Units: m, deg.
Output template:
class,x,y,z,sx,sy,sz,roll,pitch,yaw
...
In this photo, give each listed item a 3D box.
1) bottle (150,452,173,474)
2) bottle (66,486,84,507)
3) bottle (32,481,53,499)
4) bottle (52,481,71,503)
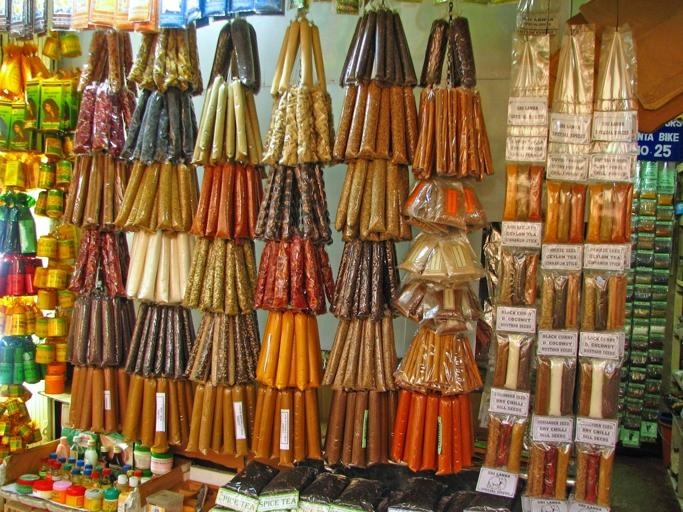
class,x,y,z,sx,sy,sz,roll,pitch,yaw
bottle,-1.046,1.193,3.740,0.109,0.111,0.119,1,-1,1
bottle,-1.487,1.335,3.623,0.088,0.094,0.096,4,-5,1
bottle,-1.700,1.320,3.680,0.085,0.084,0.090,5,-7,-15
bottle,-1.587,1.324,3.663,0.093,0.100,0.096,1,3,-28
